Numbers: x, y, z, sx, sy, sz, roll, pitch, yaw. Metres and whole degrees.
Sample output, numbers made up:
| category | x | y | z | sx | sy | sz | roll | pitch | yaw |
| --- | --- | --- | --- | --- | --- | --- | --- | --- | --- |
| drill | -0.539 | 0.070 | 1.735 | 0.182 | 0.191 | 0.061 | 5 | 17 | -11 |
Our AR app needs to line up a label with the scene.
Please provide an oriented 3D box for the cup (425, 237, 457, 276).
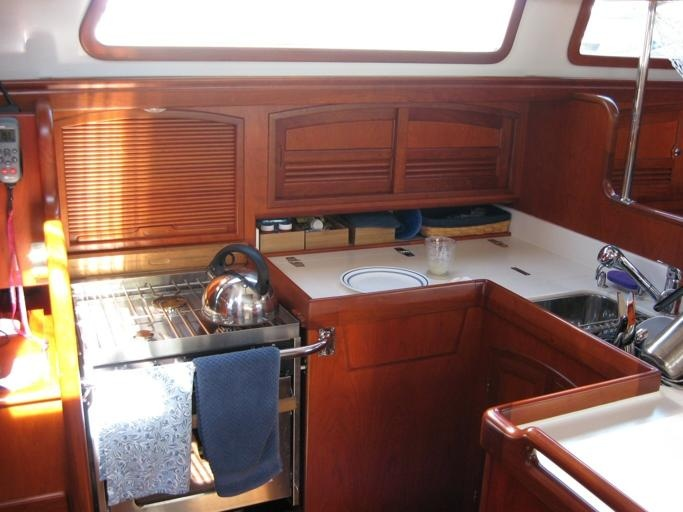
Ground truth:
| category | x | y | z | sx | sy | sz | roll | pitch | yaw |
| --- | --- | --- | --- | --- | --- | --- | --- | --- | --- |
| cup | 0.434 | -0.005 | 2.257 | 0.115 | 0.163 | 0.134 | 3 | 16 | 23 |
